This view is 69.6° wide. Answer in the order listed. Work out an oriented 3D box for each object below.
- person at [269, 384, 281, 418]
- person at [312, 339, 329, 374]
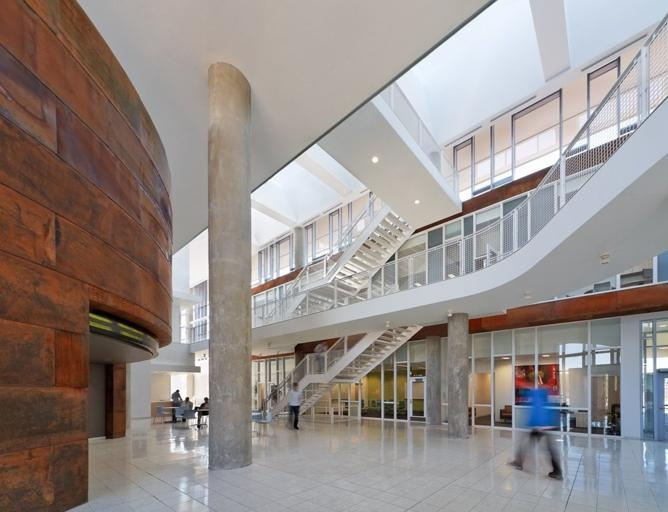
[{"bbox_3d":[-2.799,6.939,22.867,0.561,1.344,2.124,1,-13,-7],"label":"person"},{"bbox_3d":[-0.507,4.654,21.104,0.835,1.660,0.801,-2,-9,27],"label":"person"}]
